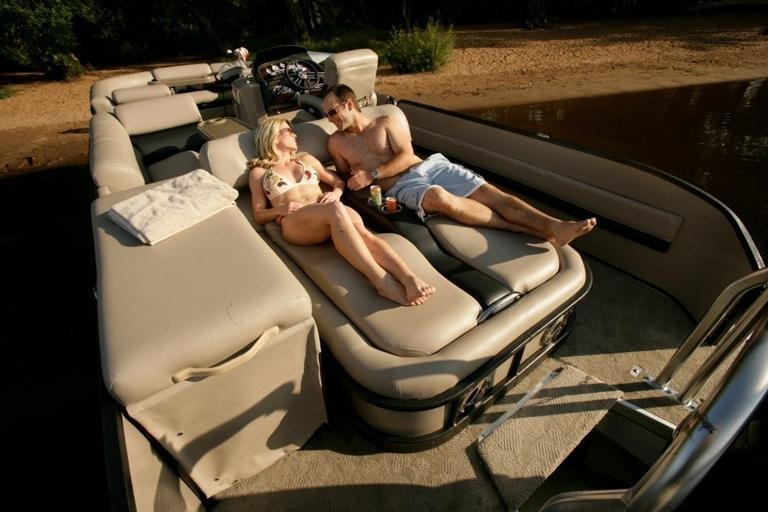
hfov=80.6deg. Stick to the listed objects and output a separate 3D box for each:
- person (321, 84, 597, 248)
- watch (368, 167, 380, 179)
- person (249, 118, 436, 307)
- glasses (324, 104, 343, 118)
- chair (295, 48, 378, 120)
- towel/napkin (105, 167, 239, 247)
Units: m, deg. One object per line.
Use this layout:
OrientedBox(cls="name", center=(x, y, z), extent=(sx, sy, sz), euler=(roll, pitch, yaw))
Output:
OrientedBox(cls="person", center=(0.459, -0.725, 4.099), extent=(2.691, 0.984, 1.144), euler=(32, 54, 30))
OrientedBox(cls="watch", center=(-0.079, -0.724, 3.961), extent=(0.065, 0.098, 0.097), euler=(9, 43, -35))
OrientedBox(cls="person", center=(-0.361, -0.395, 3.380), extent=(0.773, 0.911, 1.815), euler=(-30, 43, -32))
OrientedBox(cls="glasses", center=(-0.445, -1.272, 3.977), extent=(0.111, 0.032, 0.108), euler=(-38, 21, -31))
OrientedBox(cls="chair", center=(-0.395, -1.833, 4.976), extent=(0.884, 0.863, 0.855), euler=(-9, 23, -29))
OrientedBox(cls="towel/napkin", center=(-1.337, -0.342, 2.963), extent=(0.503, 0.146, 0.638), euler=(34, 49, 30))
